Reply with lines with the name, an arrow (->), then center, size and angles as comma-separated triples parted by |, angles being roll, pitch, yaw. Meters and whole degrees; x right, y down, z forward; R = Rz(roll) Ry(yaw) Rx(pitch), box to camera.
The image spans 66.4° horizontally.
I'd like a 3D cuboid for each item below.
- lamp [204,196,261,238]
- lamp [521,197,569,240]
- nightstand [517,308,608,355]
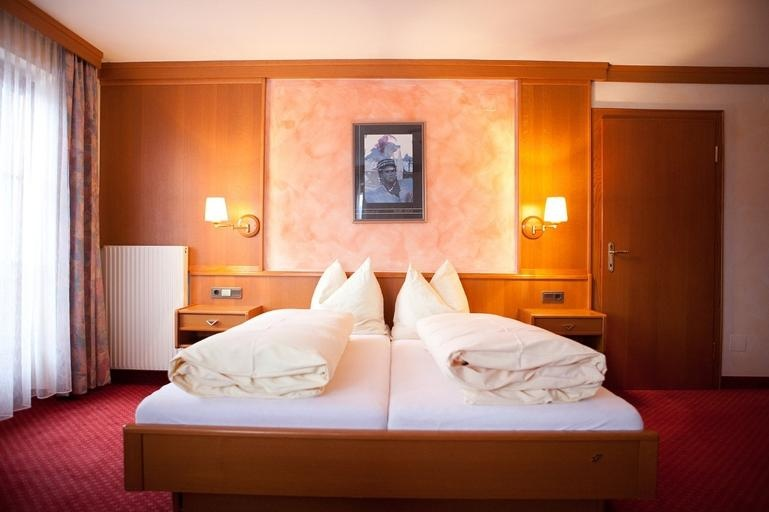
lamp -> -1.577, -0.363, 6.005 | 0.319, 0.447, 0.527 | -1, 3, 39
lamp -> 1.640, -0.352, 5.942 | 0.312, 0.442, 0.437 | 6, -2, -39
nightstand -> 1.756, 0.661, 5.672 | 0.646, 0.592, 0.455 | 1, 1, 2
